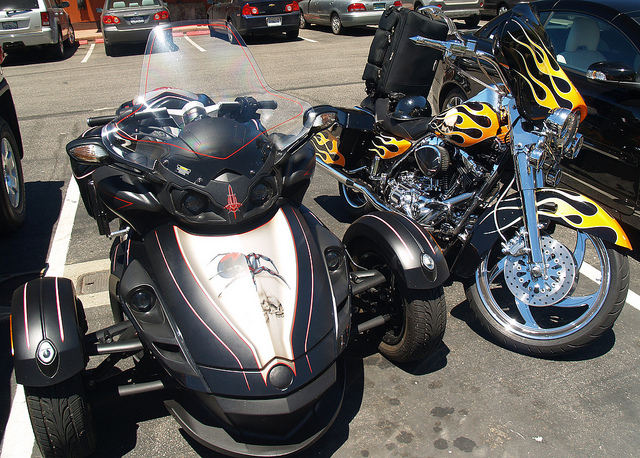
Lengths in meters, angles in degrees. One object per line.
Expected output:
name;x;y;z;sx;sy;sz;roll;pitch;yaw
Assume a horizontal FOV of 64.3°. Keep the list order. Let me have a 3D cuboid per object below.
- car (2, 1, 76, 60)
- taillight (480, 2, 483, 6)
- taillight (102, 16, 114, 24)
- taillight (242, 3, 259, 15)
car;-8.080;-6.030;15.113;1.168;1.237;2.413;-2;26;0
taillight;4.731;-6.693;15.079;0.057;0.089;0.025;3;1;-1
taillight;-6.159;-6.152;14.880;0.173;0.252;0.095;16;37;24
taillight;-2.024;-6.476;14.928;0.477;0.265;0.082;-9;32;-14
